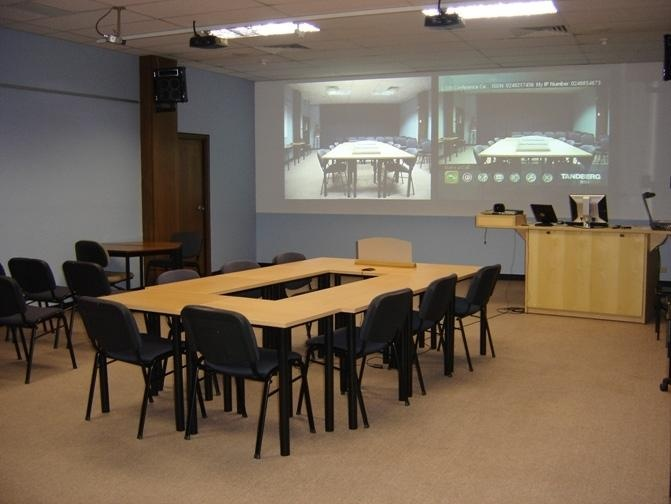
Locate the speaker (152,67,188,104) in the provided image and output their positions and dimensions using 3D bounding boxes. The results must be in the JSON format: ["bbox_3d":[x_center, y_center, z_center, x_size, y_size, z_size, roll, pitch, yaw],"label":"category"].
[{"bbox_3d":[-2.366,-2.418,7.949,0.481,0.511,0.482,0,2,7],"label":"speaker"}]

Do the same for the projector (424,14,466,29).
[{"bbox_3d":[1.094,-2.313,5.383,0.357,0.154,0.187,2,9,12],"label":"projector"}]

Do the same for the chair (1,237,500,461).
[{"bbox_3d":[-0.265,0.691,4.642,1.944,1.001,2.811,7,11,39],"label":"chair"}]

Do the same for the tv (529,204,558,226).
[{"bbox_3d":[2.798,-0.503,7.286,0.254,0.396,0.434,-1,2,-45],"label":"tv"}]

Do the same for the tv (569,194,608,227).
[{"bbox_3d":[3.231,-0.532,6.899,0.411,0.421,0.152,4,21,36],"label":"tv"}]

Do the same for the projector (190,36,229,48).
[{"bbox_3d":[-1.463,-2.413,6.188,0.352,0.123,0.272,2,9,10],"label":"projector"}]

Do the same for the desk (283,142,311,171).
[{"bbox_3d":[-0.724,-1.820,10.357,0.379,0.509,0.530,4,10,27],"label":"desk"}]
